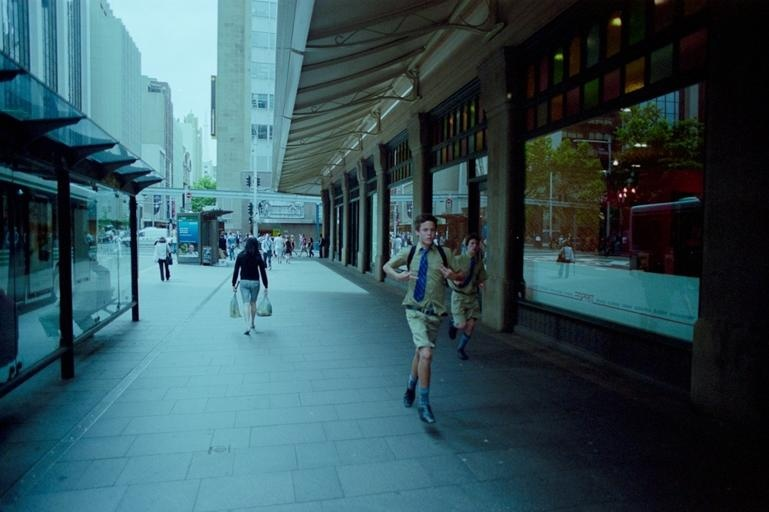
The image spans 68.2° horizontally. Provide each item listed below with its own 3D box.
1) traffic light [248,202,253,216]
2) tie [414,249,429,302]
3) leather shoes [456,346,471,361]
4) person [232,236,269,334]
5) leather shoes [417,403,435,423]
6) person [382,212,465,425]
[{"bbox_3d":[-9.765,-3.388,41.075,0.283,0.849,1.048,-3,11,-14],"label":"traffic light"},{"bbox_3d":[0.464,0.249,7.411,0.168,0.652,0.198,2,11,7],"label":"tie"},{"bbox_3d":[1.339,1.693,9.813,0.169,0.169,0.391,0,-9,-6],"label":"leather shoes"},{"bbox_3d":[-2.780,0.545,11.677,0.666,2.042,1.223,-2,11,-13],"label":"person"},{"bbox_3d":[0.542,2.007,7.345,0.208,0.218,0.238,1,11,2],"label":"leather shoes"},{"bbox_3d":[0.442,0.749,7.597,0.921,2.616,0.912,7,13,30],"label":"person"}]
